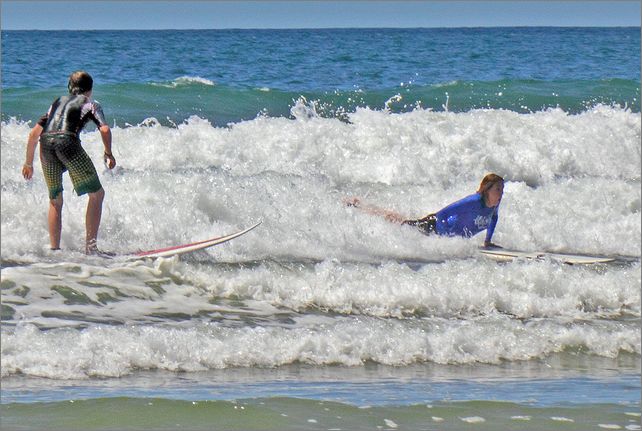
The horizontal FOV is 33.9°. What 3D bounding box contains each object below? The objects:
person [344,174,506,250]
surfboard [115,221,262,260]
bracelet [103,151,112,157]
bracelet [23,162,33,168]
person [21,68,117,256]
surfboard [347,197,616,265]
[{"bbox_3d":[2.107,-0.208,19.955,3.085,1.224,1.002,5,35,12],"label":"person"},{"bbox_3d":[-2.398,0.477,18.588,2.773,0.203,0.282,-10,20,-32],"label":"surfboard"},{"bbox_3d":[-3.494,-0.997,17.325,0.090,0.039,0.117,21,-1,29],"label":"bracelet"},{"bbox_3d":[-4.806,-0.818,17.416,0.106,0.073,0.227,1,4,12],"label":"bracelet"},{"bbox_3d":[-4.150,-0.674,17.389,1.491,2.630,0.480,-1,5,-4],"label":"person"},{"bbox_3d":[3.024,0.366,20.235,4.056,0.398,0.762,9,17,29],"label":"surfboard"}]
